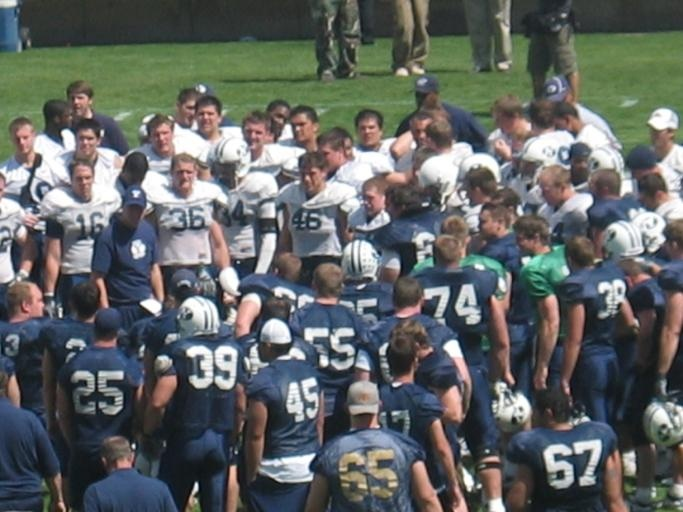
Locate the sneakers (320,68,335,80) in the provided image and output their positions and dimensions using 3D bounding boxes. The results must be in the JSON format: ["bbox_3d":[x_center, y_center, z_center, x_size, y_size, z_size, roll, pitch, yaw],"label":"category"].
[{"bbox_3d":[-0.242,-3.176,32.473,0.220,0.208,0.076,-2,-15,4],"label":"sneakers"}]

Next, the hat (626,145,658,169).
[{"bbox_3d":[3.795,-1.224,22.919,0.349,0.288,0.256,-33,32,28],"label":"hat"}]

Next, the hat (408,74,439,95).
[{"bbox_3d":[1.170,-2.306,24.816,0.312,0.250,0.422,-3,3,1],"label":"hat"}]

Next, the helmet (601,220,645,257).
[{"bbox_3d":[3.318,-0.180,21.582,0.344,0.419,0.457,-9,29,-17],"label":"helmet"}]

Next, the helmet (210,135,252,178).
[{"bbox_3d":[-1.357,-1.210,23.130,0.487,0.468,0.436,-22,30,-15],"label":"helmet"}]

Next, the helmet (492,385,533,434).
[{"bbox_3d":[2.023,1.809,21.540,0.413,0.492,0.567,4,-8,9],"label":"helmet"}]

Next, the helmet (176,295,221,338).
[{"bbox_3d":[-1.651,0.692,20.654,0.567,0.471,0.502,-1,2,42],"label":"helmet"}]

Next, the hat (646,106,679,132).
[{"bbox_3d":[4.289,-1.784,24.133,0.375,0.297,0.499,-2,3,21],"label":"hat"}]

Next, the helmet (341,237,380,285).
[{"bbox_3d":[0.295,0.106,21.592,0.458,0.544,0.611,3,-2,11],"label":"helmet"}]

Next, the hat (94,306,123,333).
[{"bbox_3d":[-2.645,0.765,20.858,0.340,0.253,0.549,10,-9,-5],"label":"hat"}]

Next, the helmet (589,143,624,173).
[{"bbox_3d":[3.369,-1.215,22.800,0.375,0.298,0.358,15,-24,-7],"label":"helmet"}]

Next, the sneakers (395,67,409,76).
[{"bbox_3d":[1.100,-3.243,32.460,0.176,0.179,0.177,-2,21,-9],"label":"sneakers"}]

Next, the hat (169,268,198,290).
[{"bbox_3d":[-1.850,0.286,21.250,0.312,0.217,0.244,-3,3,-9],"label":"hat"}]

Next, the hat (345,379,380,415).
[{"bbox_3d":[0.239,1.494,19.652,0.375,0.270,0.530,2,19,1],"label":"hat"}]

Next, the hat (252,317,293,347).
[{"bbox_3d":[-0.718,0.861,20.299,0.243,0.177,0.319,-7,14,-39],"label":"hat"}]

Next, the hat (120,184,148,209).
[{"bbox_3d":[-2.552,-0.714,22.390,0.280,0.274,0.424,-3,3,-5],"label":"hat"}]

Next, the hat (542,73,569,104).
[{"bbox_3d":[3.042,-2.335,25.617,0.357,0.337,0.592,-2,3,6],"label":"hat"}]
